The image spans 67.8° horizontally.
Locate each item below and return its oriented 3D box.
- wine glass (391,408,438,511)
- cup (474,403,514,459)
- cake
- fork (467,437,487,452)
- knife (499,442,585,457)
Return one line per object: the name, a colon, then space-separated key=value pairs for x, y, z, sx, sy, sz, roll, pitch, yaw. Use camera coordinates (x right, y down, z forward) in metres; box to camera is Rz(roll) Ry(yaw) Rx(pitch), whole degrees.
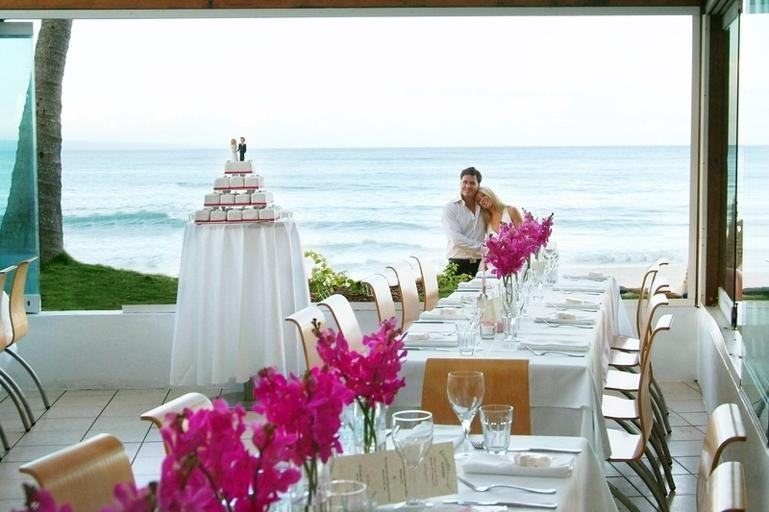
wine glass: x=0.072 y=0.555 z=1.540 sx=0.104 sy=0.284 sz=0.149 roll=-1 pitch=9 yaw=0
cup: x=0.338 y=0.533 z=1.808 sx=0.150 sy=0.172 sz=0.147 roll=0 pitch=10 yaw=0
cake: x=-1.410 y=-0.579 z=5.344 sx=0.874 sy=0.837 sz=0.781 roll=0 pitch=-1 yaw=-3
fork: x=0.305 y=0.630 z=1.912 sx=0.021 sy=0.032 sz=0.072 roll=1 pitch=-10 yaw=-18
knife: x=0.504 y=0.627 z=1.847 sx=0.261 sy=0.028 sz=0.026 roll=8 pitch=-15 yaw=9
